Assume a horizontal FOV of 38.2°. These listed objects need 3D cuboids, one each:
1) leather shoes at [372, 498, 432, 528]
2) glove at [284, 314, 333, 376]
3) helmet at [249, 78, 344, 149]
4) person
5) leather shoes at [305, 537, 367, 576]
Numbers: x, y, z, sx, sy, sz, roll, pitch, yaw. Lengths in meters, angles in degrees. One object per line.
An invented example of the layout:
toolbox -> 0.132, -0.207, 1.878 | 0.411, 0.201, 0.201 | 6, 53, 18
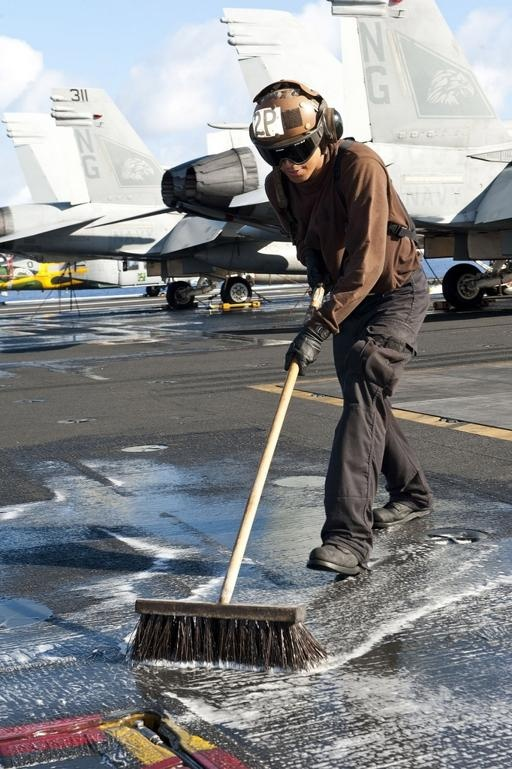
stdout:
leather shoes -> 0.757, 0.686, 3.969 | 0.373, 0.123, 0.119 | -1, -1, -30
glove -> 0.225, -0.173, 3.106 | 0.234, 0.241, 0.194 | 3, 9, 6
helmet -> 0.170, -1.176, 3.239 | 0.409, 0.360, 0.267 | -1, 5, 4
person -> 0.347, -0.286, 3.672 | 1.267, 2.013, 0.775 | -2, 4, -24
leather shoes -> 0.347, 0.722, 3.088 | 0.199, 0.079, 0.265 | 18, 6, -3
